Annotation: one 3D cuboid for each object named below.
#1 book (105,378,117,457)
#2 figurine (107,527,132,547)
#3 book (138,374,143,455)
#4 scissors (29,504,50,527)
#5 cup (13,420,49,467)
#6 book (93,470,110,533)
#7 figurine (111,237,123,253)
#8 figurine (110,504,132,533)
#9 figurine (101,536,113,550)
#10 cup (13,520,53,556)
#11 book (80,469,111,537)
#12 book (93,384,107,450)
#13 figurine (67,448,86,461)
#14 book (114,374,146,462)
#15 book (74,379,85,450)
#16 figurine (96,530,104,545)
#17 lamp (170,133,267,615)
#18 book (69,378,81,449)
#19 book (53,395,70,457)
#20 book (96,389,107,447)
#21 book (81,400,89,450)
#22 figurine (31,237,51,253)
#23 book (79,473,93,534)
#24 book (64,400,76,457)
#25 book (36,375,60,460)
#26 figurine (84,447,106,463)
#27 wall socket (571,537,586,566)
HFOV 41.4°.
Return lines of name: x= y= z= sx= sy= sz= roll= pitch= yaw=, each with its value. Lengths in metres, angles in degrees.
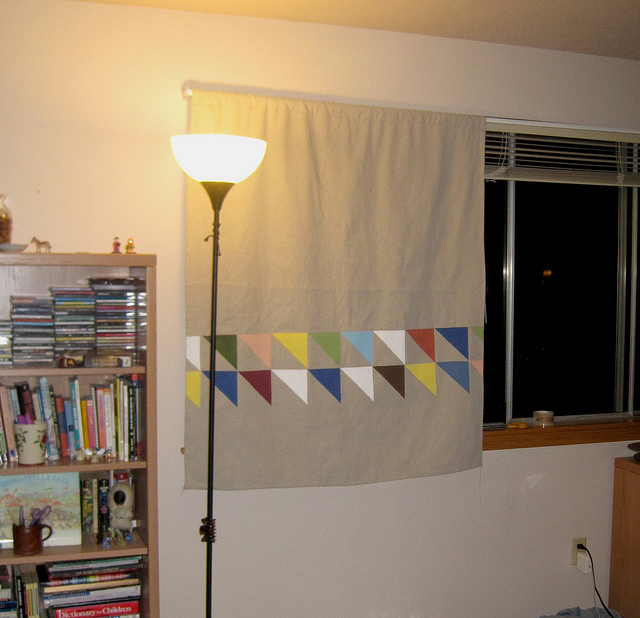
book: x=-0.759 y=0.409 z=3.068 sx=0.027 sy=0.273 sz=0.198 roll=-1 pitch=5 yaw=-15
figurine: x=-0.727 y=0.835 z=3.075 sx=0.064 sy=0.069 sz=0.040 roll=1 pitch=-4 yaw=-6
book: x=-0.657 y=0.387 z=3.097 sx=0.014 sy=0.286 sz=0.087 roll=-2 pitch=2 yaw=-16
scissors: x=-1.003 y=0.743 z=3.018 sx=0.051 sy=0.017 sz=0.052 roll=-45 pitch=14 yaw=8
cup: x=-1.026 y=0.474 z=3.026 sx=0.109 sy=0.161 sz=0.115 roll=3 pitch=7 yaw=0
book: x=-0.810 y=0.737 z=3.164 sx=0.089 sy=0.197 sz=0.111 roll=-1 pitch=7 yaw=-19
figurine: x=-0.736 y=-0.235 z=3.074 sx=0.041 sy=0.084 sz=0.046 roll=0 pitch=8 yaw=-12
figurine: x=-0.725 y=0.767 z=3.087 sx=0.056 sy=0.105 sz=0.054 roll=-2 pitch=-8 yaw=1
figurine: x=-0.768 y=0.849 z=3.059 sx=0.042 sy=0.030 sz=0.056 roll=-3 pitch=3 yaw=-26
cup: x=-1.017 y=0.817 z=3.015 sx=0.081 sy=0.123 sz=0.128 roll=-2 pitch=-7 yaw=41
book: x=-0.841 y=0.742 z=3.168 sx=0.107 sy=0.202 sz=0.151 roll=-1 pitch=-7 yaw=8
book: x=-0.798 y=0.402 z=3.062 sx=0.024 sy=0.237 sz=0.169 roll=-5 pitch=5 yaw=-16
figurine: x=-0.879 y=0.525 z=3.054 sx=0.031 sy=0.040 sz=0.085 roll=-4 pitch=3 yaw=-45
book: x=-0.690 y=0.411 z=3.067 sx=0.079 sy=0.290 sz=0.258 roll=-1 pitch=2 yaw=-11
book: x=-0.874 y=0.394 z=3.067 sx=0.027 sy=0.275 sz=0.197 roll=-5 pitch=4 yaw=-17
figurine: x=-0.802 y=0.838 z=3.086 sx=0.026 sy=0.064 sz=0.030 roll=-4 pitch=-9 yaw=18
lamp: x=-0.356 y=0.278 z=3.098 sx=0.321 sy=1.877 sz=0.464 roll=-2 pitch=2 yaw=-11
book: x=-0.889 y=0.390 z=3.064 sx=0.027 sy=0.274 sz=0.197 roll=-5 pitch=4 yaw=-15
book: x=-0.938 y=0.427 z=3.056 sx=0.024 sy=0.294 sz=0.181 roll=-7 pitch=3 yaw=-15
book: x=-0.793 y=0.400 z=3.062 sx=0.020 sy=0.256 sz=0.169 roll=-4 pitch=0 yaw=-12
book: x=-0.853 y=0.423 z=3.063 sx=0.022 sy=0.189 sz=0.138 roll=-2 pitch=3 yaw=-16
figurine: x=-1.022 y=-0.237 z=3.091 sx=0.063 sy=0.056 sz=0.197 roll=-3 pitch=3 yaw=-19
book: x=-0.862 y=0.726 z=3.113 sx=0.048 sy=0.178 sz=0.160 roll=-2 pitch=14 yaw=-11
book: x=-0.900 y=0.432 z=3.057 sx=0.049 sy=0.199 sz=0.024 roll=1 pitch=3 yaw=43
book: x=-0.978 y=0.404 z=3.034 sx=0.039 sy=0.324 sz=0.236 roll=-6 pitch=6 yaw=-17
figurine: x=-0.812 y=0.524 z=3.042 sx=0.044 sy=0.036 sz=0.051 roll=2 pitch=2 yaw=-13
wall socket: x=1.171 y=1.099 z=3.812 sx=0.076 sy=0.125 sz=0.028 roll=-2 pitch=2 yaw=-14
